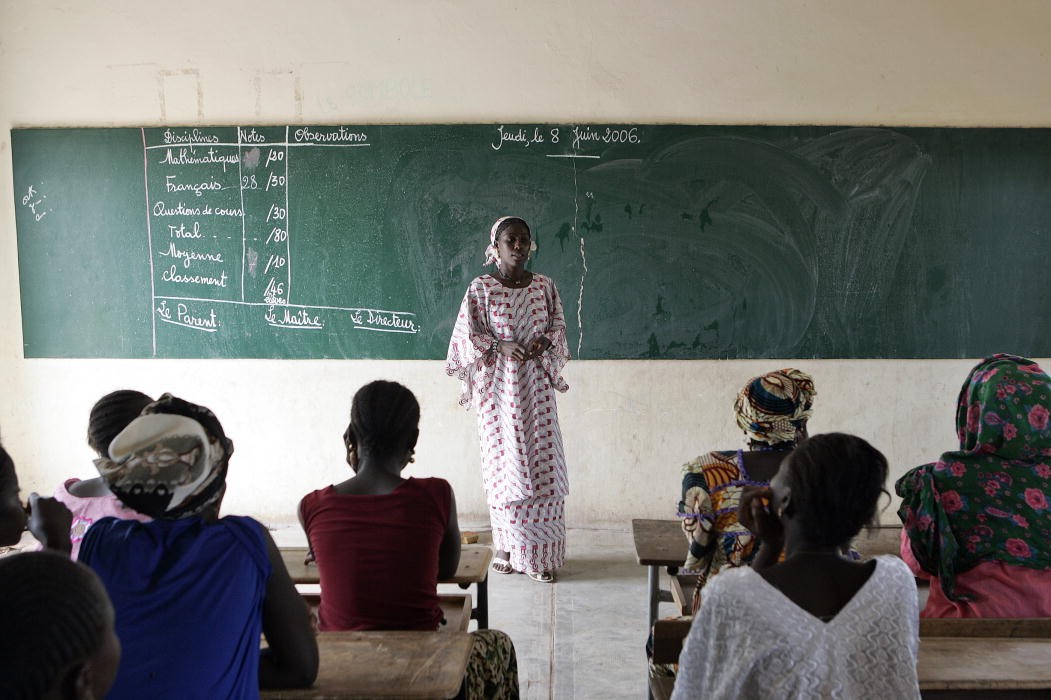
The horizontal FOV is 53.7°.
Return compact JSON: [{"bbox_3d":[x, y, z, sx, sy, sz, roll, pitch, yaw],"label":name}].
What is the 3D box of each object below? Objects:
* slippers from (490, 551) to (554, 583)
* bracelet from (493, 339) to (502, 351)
[{"bbox_3d":[-0.015,1.185,5.656,0.369,0.147,0.127,-1,-3,27],"label":"slippers"},{"bbox_3d":[-0.145,-0.021,5.541,0.050,0.043,0.041,1,-1,-4],"label":"bracelet"}]
